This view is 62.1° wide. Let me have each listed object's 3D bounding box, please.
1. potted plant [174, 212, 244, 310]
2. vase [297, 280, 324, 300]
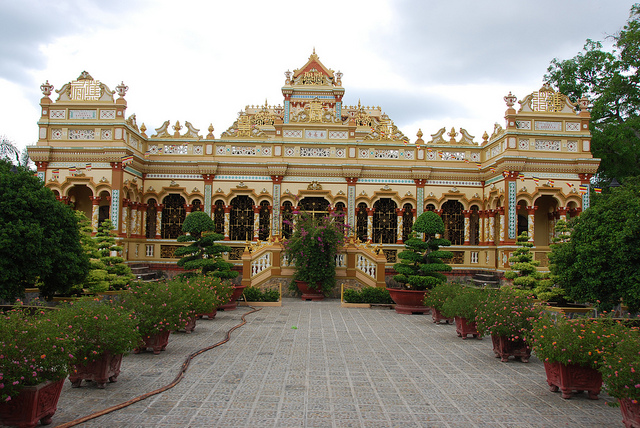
[{"bbox_3d":[-4.360,1.499,19.893,2.104,3.151,1.815,2,13,21],"label":"potted plant"},{"bbox_3d":[-0.387,2.961,21.082,0.895,0.405,0.881,-1,-3,24],"label":"vase"}]
